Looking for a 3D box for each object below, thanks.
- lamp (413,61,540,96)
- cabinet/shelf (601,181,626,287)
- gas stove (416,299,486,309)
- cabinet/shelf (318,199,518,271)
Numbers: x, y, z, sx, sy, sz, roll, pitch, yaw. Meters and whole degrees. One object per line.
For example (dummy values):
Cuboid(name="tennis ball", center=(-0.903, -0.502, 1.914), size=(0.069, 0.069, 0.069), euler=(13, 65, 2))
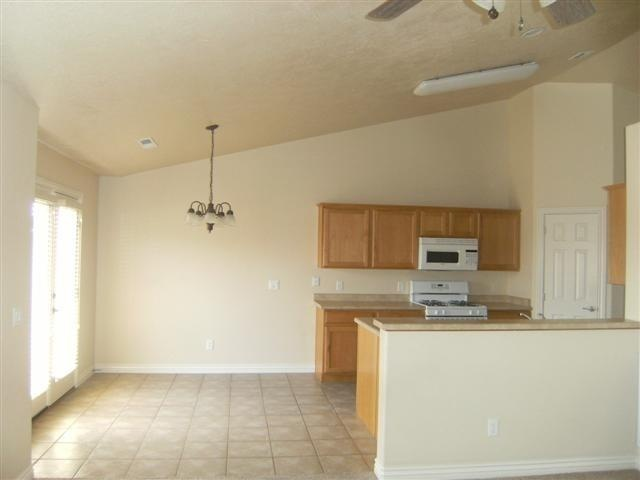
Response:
Cuboid(name="lamp", center=(1.795, -1.874, 5.796), size=(1.843, 0.275, 0.265), euler=(-7, 23, 0))
Cuboid(name="cabinet/shelf", center=(2.761, -0.048, 4.734), size=(0.111, 0.917, 0.338), euler=(-2, -4, 7))
Cuboid(name="gas stove", center=(1.710, 0.848, 6.772), size=(0.831, 0.093, 0.713), euler=(-3, -5, 10))
Cuboid(name="cabinet/shelf", center=(1.323, -0.038, 6.760), size=(2.583, 0.907, 0.275), euler=(-1, -4, -3))
